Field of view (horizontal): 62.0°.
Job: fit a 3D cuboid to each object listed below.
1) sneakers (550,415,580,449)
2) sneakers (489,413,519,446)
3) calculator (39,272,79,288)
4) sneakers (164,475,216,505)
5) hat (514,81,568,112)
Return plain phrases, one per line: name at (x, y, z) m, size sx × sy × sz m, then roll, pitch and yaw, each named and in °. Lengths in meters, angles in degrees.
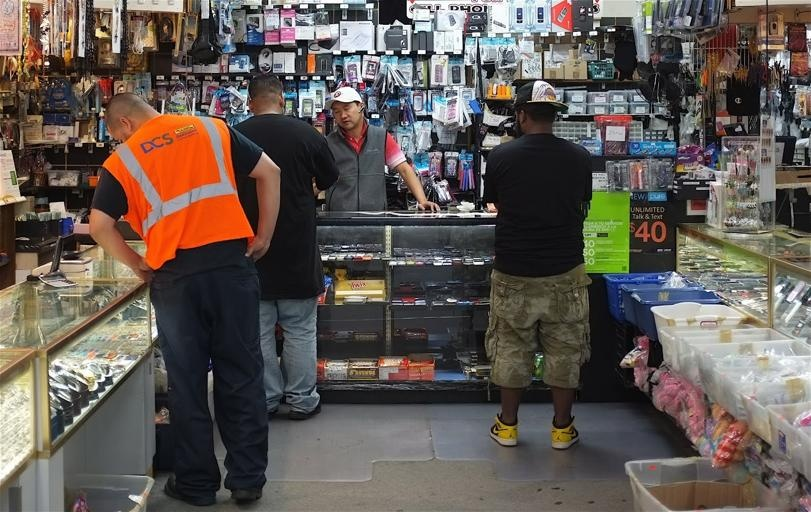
sneakers at (1.150, 1.290, 4.885) m, size 0.113 × 0.132 × 0.301 m, roll 0°, pitch 6°, yaw 15°
sneakers at (0.719, 1.283, 4.919) m, size 0.108 × 0.120 × 0.284 m, roll 0°, pitch 5°, yaw -3°
calculator at (-2.141, 0.145, 4.152) m, size 0.169 × 0.059 × 0.286 m, roll -16°, pitch 23°, yaw -43°
sneakers at (-1.350, 1.482, 4.209) m, size 0.336 × 0.128 × 0.133 m, roll 12°, pitch 12°, yaw 36°
hat at (0.925, -1.133, 4.699) m, size 0.212 × 0.155 × 0.323 m, roll 0°, pitch 6°, yaw -31°
